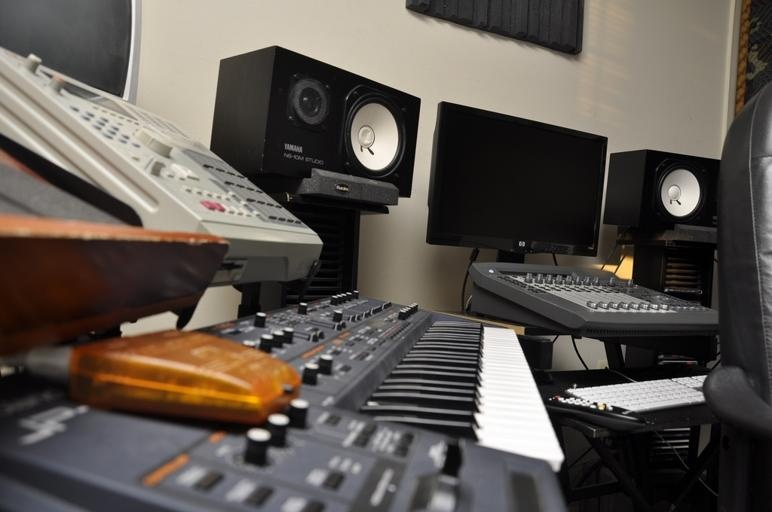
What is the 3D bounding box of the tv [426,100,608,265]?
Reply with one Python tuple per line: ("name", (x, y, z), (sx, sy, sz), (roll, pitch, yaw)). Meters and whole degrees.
("tv", (0.454, -0.257, 1.799), (0.701, 0.475, 0.186), (8, -1, -28))
